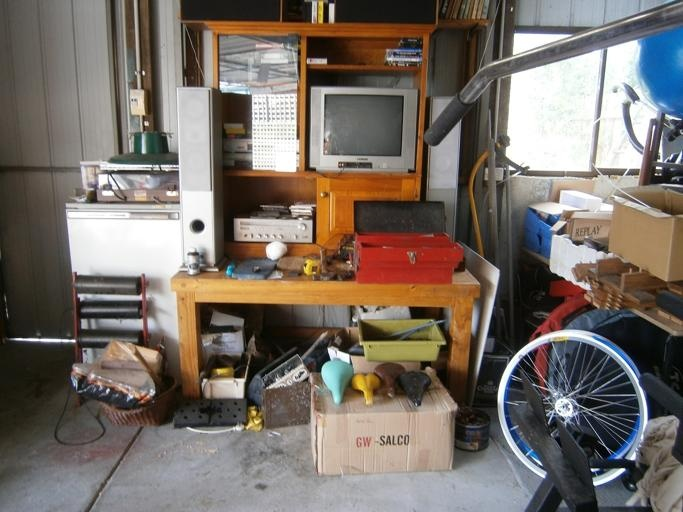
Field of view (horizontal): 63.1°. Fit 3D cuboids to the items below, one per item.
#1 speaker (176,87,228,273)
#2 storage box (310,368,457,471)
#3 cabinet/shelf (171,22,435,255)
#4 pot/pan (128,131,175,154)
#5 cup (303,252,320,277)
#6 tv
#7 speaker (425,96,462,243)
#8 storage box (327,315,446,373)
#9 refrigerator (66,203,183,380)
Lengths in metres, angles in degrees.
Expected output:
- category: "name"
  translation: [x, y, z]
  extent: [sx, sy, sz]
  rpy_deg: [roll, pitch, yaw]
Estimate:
- category: "speaker"
  translation: [-0.940, -0.409, 3.724]
  extent: [0.243, 1.039, 0.333]
  rpy_deg: [-5, -13, -3]
- category: "storage box"
  translation: [0.243, 0.984, 3.477]
  extent: [0.814, 0.421, 0.614]
  rpy_deg: [1, 15, -2]
- category: "cabinet/shelf"
  translation: [-0.224, -0.801, 3.826]
  extent: [1.543, 1.736, 0.502]
  rpy_deg: [-1, 10, -4]
- category: "pot/pan"
  translation: [-1.409, -0.848, 4.143]
  extent: [0.303, 0.162, 0.472]
  rpy_deg: [-6, 17, -18]
- category: "cup"
  translation: [-0.188, 0.071, 3.735]
  extent: [0.133, 0.137, 0.085]
  rpy_deg: [-1, 10, -24]
- category: "tv"
  translation: [0.121, -0.912, 4.042]
  extent: [0.789, 0.583, 0.456]
  rpy_deg: [0, 17, -7]
- category: "speaker"
  translation: [0.744, -0.648, 4.070]
  extent: [0.215, 0.998, 0.203]
  rpy_deg: [2, 1, 4]
- category: "storage box"
  translation: [0.332, 0.554, 3.582]
  extent: [0.538, 0.174, 0.397]
  rpy_deg: [0, 12, 0]
- category: "refrigerator"
  translation: [-1.609, -0.017, 4.034]
  extent: [0.688, 1.224, 0.417]
  rpy_deg: [-2, 45, -27]
